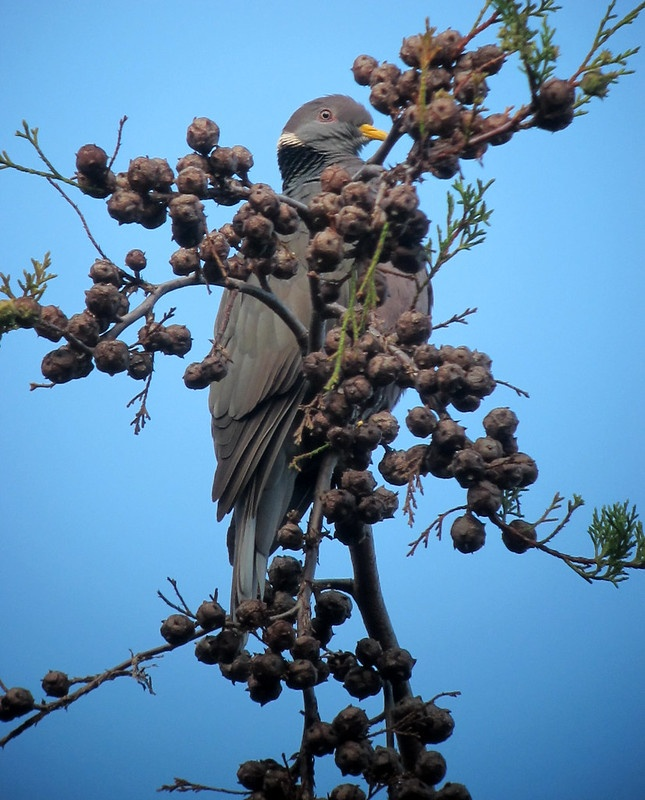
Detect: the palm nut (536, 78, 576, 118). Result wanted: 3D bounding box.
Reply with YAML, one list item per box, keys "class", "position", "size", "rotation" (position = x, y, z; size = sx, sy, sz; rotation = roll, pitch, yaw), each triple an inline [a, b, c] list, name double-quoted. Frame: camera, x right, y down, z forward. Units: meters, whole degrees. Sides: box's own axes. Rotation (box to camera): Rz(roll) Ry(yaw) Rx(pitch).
- class: "palm nut"
  position: [0.343, -0.446, 3.522]
  size: [0.052, 0.023, 0.049]
  rotation: [-7, -69, 4]
